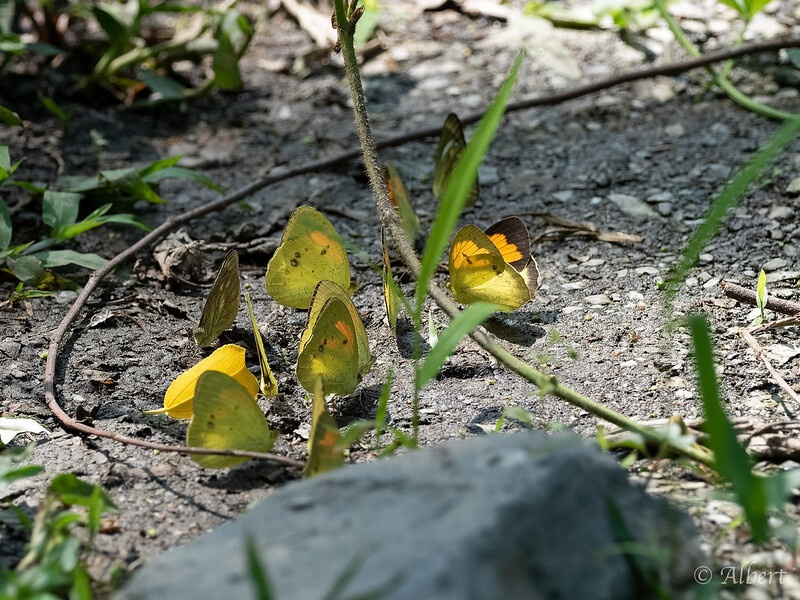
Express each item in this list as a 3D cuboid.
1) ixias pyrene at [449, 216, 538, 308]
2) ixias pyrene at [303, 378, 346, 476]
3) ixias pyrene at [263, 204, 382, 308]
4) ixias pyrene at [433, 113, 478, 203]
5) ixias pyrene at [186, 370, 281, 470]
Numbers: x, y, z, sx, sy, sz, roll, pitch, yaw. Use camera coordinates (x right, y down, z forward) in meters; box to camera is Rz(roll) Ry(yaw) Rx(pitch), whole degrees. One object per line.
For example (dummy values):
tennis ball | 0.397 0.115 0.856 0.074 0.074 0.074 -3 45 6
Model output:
ixias pyrene | 0.308 -0.129 2.904 0.347 0.344 0.405 5 17 22
ixias pyrene | -0.185 0.307 2.002 0.083 0.275 0.138 6 27 11
ixias pyrene | -0.244 -0.104 2.829 0.301 0.350 0.385 26 -20 -32
ixias pyrene | 0.194 -0.553 3.232 0.128 0.417 0.431 2 25 2
ixias pyrene | -0.436 0.301 2.223 0.275 0.256 0.117 39 50 -1
